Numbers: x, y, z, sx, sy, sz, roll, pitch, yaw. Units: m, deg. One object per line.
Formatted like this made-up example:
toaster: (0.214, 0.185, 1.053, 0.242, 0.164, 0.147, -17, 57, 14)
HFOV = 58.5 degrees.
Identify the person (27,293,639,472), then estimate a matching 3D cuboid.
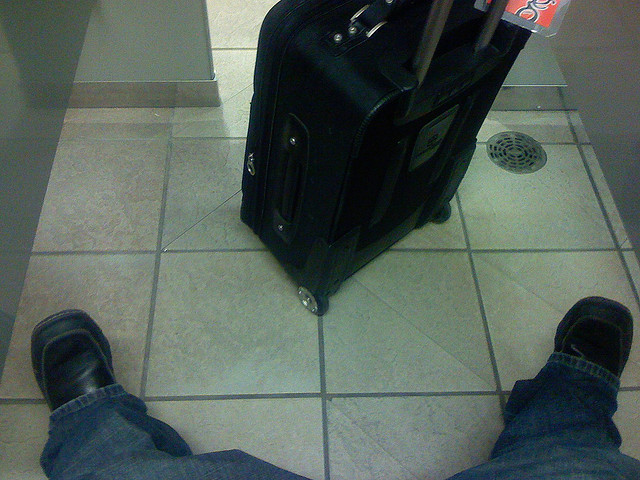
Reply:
person: (0.013, 0.395, 1.582, 1.316, 0.608, 0.294, -2, 44, -8)
